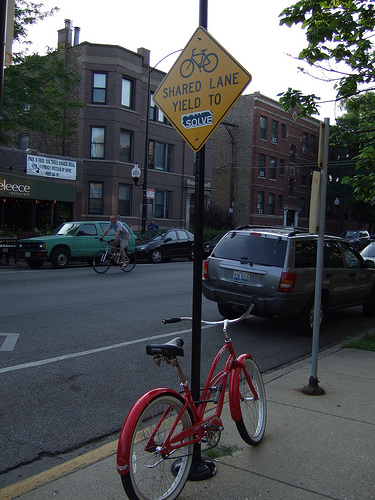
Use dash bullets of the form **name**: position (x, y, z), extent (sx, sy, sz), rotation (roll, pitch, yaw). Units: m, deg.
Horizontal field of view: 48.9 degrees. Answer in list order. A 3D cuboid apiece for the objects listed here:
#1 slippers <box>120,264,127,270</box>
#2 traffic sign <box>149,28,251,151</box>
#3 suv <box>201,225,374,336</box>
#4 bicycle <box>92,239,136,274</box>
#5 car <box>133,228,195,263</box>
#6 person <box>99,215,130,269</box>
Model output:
- **slippers**: position (-2.356, 0.600, 15.141), extent (0.110, 0.147, 0.351), rotation (-3, 22, 25)
- **traffic sign**: position (0.070, -0.985, 2.503), extent (0.093, 0.794, 0.720), rotation (1, -2, -44)
- **suv**: position (2.109, 0.398, 7.698), extent (1.517, 1.414, 3.140), rotation (3, 5, 44)
- **bicycle**: position (-2.683, 0.241, 15.240), extent (1.900, 1.245, 0.865), rotation (-2, 8, -43)
- **car**: position (-1.255, -0.232, 21.148), extent (1.439, 1.831, 3.542), rotation (-1, -2, 44)
- **person**: position (-2.588, -0.273, 15.105), extent (0.947, 1.960, 1.282), rotation (0, -1, -12)
